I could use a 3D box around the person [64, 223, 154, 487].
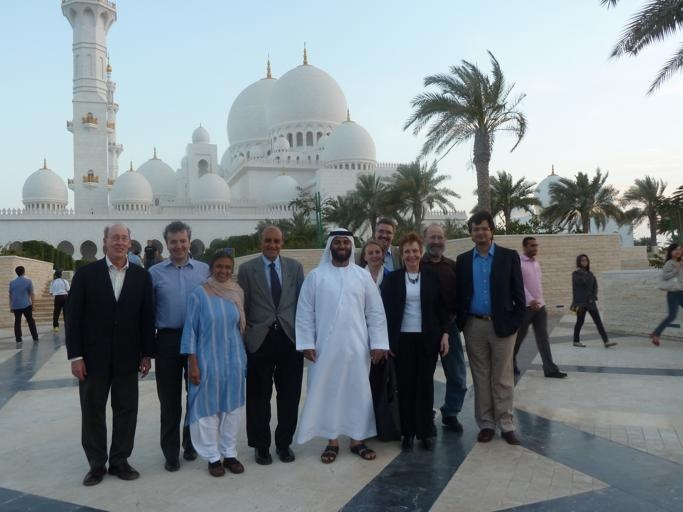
[{"bbox_3d":[-2.204,0.916,5.727,0.816,2.401,0.717,-5,8,-27],"label":"person"}]

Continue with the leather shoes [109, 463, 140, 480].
[{"bbox_3d":[-2.058,2.031,5.604,0.257,0.116,0.136,4,-3,22],"label":"leather shoes"}]

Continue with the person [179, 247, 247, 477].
[{"bbox_3d":[-1.198,1.013,5.827,0.671,2.100,0.749,-7,9,-35],"label":"person"}]

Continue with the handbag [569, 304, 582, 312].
[{"bbox_3d":[4.143,0.938,10.486,0.094,0.238,0.234,4,-3,-22],"label":"handbag"}]

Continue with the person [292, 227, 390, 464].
[{"bbox_3d":[0.010,0.870,6.021,0.953,2.211,0.834,-2,8,0],"label":"person"}]

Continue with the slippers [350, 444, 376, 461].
[{"bbox_3d":[0.220,1.962,5.918,0.108,0.093,0.221,-1,-9,-35],"label":"slippers"}]

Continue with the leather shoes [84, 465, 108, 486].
[{"bbox_3d":[-2.282,2.038,5.498,0.232,0.123,0.167,-7,9,-37],"label":"leather shoes"}]

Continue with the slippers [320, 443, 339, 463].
[{"bbox_3d":[-0.113,1.940,5.873,0.171,0.128,0.299,-2,8,1],"label":"slippers"}]

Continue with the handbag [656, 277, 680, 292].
[{"bbox_3d":[5.676,0.504,10.238,0.108,0.283,0.273,9,-10,-43],"label":"handbag"}]

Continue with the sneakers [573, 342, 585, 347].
[{"bbox_3d":[4.187,1.568,10.409,0.231,0.098,0.078,-4,-3,44],"label":"sneakers"}]

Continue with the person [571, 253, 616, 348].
[{"bbox_3d":[4.511,0.802,10.673,0.628,1.649,1.252,2,8,25],"label":"person"}]
